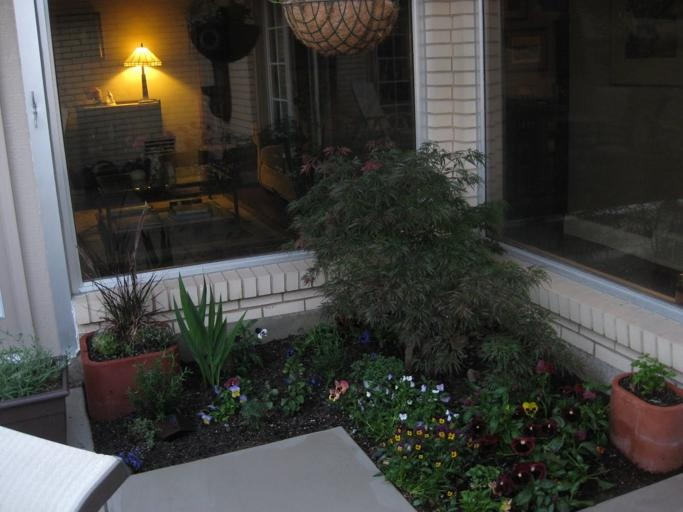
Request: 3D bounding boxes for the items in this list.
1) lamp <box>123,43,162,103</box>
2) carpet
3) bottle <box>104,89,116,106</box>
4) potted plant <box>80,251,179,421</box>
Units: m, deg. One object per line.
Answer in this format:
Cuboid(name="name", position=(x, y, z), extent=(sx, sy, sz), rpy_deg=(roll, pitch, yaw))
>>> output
Cuboid(name="lamp", position=(-1.387, -1.281, 3.890), extent=(0.248, 0.380, 0.254), rpy_deg=(-7, 19, -26))
Cuboid(name="carpet", position=(-1.171, -0.188, 4.127), extent=(0.892, 0.227, 0.827), rpy_deg=(-10, 24, -12))
Cuboid(name="bottle", position=(-1.573, -1.073, 3.779), extent=(0.061, 0.099, 0.012), rpy_deg=(-14, 20, -24))
Cuboid(name="potted plant", position=(-1.443, 0.505, 3.807), extent=(0.576, 0.863, 0.538), rpy_deg=(-11, -14, 16))
